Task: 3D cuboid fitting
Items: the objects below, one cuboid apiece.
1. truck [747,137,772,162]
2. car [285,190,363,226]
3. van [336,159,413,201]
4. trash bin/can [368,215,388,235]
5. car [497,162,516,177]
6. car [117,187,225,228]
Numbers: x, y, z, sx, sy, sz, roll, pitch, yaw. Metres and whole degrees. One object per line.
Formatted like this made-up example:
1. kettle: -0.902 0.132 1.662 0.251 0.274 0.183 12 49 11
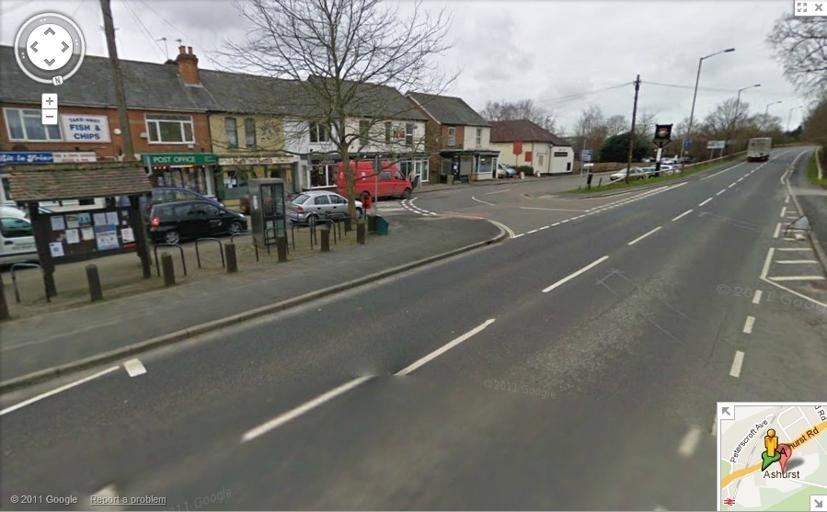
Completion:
1. truck: 42.207 -12.994 69.182 2.114 2.783 2.946 3 13 27
2. car: -4.816 -2.397 28.440 2.898 1.593 1.062 -10 13 -31
3. van: -2.651 -5.126 38.237 5.679 2.595 2.039 -9 13 -35
4. trash bin/can: -1.671 -1.412 25.999 0.848 0.780 0.839 -3 13 -10
5. car: 9.478 -8.834 58.528 2.087 0.971 1.287 3 19 26
6. car: -11.213 -1.896 26.461 4.654 1.660 2.428 -8 15 -29
